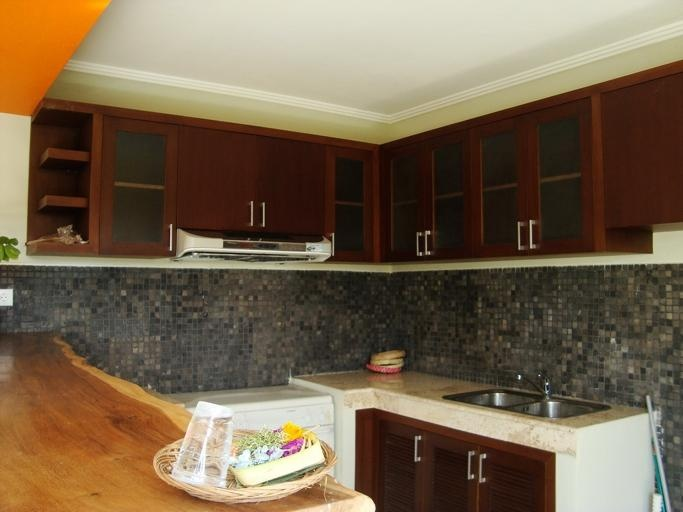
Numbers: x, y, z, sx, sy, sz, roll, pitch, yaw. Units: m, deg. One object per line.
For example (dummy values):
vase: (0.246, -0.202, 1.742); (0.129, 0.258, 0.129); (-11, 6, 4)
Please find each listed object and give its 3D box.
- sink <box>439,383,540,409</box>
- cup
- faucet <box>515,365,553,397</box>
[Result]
sink: (0.980, 0.943, 3.647); (0.320, 0.134, 0.269); (3, -5, -35)
cup: (-0.348, 0.470, 1.376); (0.142, 0.186, 0.069); (2, 1, -1)
faucet: (1.217, 0.819, 3.587); (0.245, 0.148, 0.316); (2, 2, -19)
